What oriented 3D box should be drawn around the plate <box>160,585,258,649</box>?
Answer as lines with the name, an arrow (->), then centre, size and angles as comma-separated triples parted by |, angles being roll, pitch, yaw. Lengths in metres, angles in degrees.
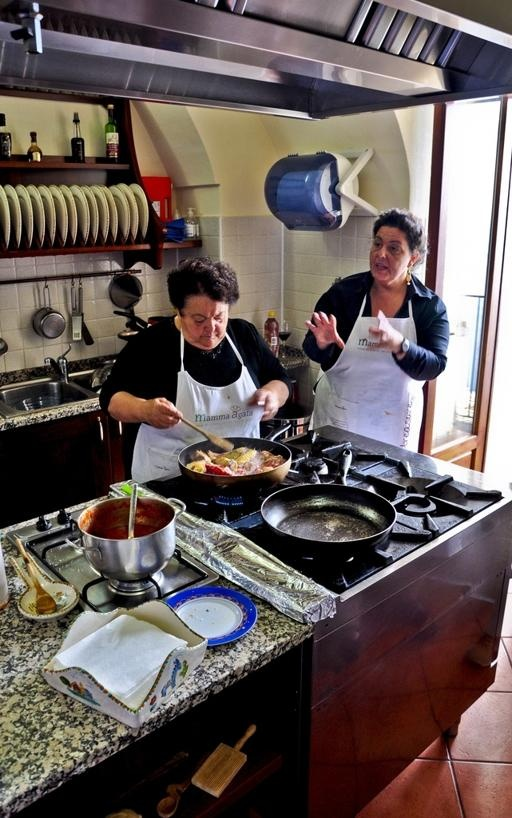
plate -> -0.072, 0.362, 1.018 | 0.097, 0.013, 0.098 | -4, 22, -11

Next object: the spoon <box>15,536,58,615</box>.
spoon -> -0.413, 0.283, 1.080 | 0.043, 0.033, 0.216 | -15, 36, -21

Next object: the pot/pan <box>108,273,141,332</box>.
pot/pan -> -0.724, -0.574, 3.240 | 0.048, 0.339, 0.203 | 1, 17, 41

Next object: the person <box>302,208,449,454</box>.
person -> 0.461, -0.275, 2.299 | 0.568, 0.991, 0.570 | 3, 12, 18

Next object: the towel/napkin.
towel/napkin -> -0.210, 0.359, 0.841 | 0.113, 0.043, 0.124 | 16, 23, 27

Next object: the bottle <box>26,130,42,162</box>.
bottle -> -1.040, -1.207, 2.687 | 0.062, 0.134, 0.116 | -5, 12, -20

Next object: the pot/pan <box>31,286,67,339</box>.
pot/pan -> -1.066, -0.481, 2.948 | 0.148, 0.265, 0.051 | -13, 10, -44

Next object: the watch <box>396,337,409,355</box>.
watch -> 0.537, -0.226, 2.109 | 0.021, 0.057, 0.044 | 24, 2, -10

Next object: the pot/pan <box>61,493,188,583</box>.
pot/pan -> -0.240, 0.228, 1.072 | 0.152, 0.107, 0.195 | 23, 34, 38
